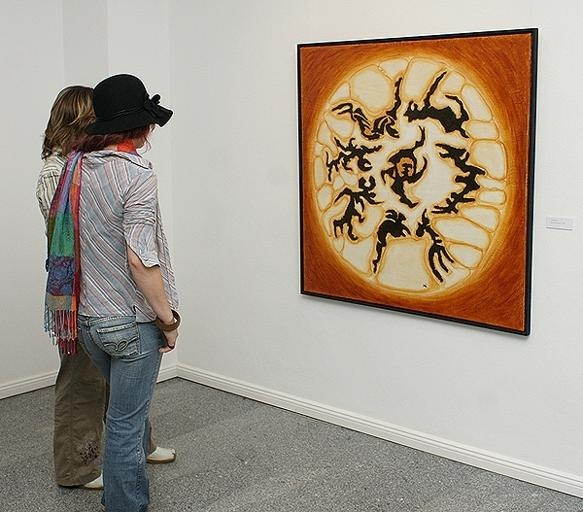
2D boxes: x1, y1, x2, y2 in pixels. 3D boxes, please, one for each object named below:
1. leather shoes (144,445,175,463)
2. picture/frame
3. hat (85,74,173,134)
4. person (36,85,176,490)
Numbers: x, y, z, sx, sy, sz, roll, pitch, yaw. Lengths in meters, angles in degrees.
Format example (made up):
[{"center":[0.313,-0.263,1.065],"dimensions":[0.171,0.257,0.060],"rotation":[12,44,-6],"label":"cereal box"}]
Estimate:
[{"center":[-0.673,1.000,3.067],"dimensions":[0.120,0.053,0.071],"rotation":[-1,11,-4],"label":"leather shoes"},{"center":[0.651,-0.386,2.977],"dimensions":[1.442,1.650,0.061],"rotation":[8,13,40],"label":"picture/frame"},{"center":[-0.608,-0.533,2.249],"dimensions":[0.238,0.142,0.253],"rotation":[-16,37,5],"label":"hat"},{"center":[-0.779,0.168,2.762],"dimensions":[0.552,2.138,0.578],"rotation":[16,26,11],"label":"person"}]
